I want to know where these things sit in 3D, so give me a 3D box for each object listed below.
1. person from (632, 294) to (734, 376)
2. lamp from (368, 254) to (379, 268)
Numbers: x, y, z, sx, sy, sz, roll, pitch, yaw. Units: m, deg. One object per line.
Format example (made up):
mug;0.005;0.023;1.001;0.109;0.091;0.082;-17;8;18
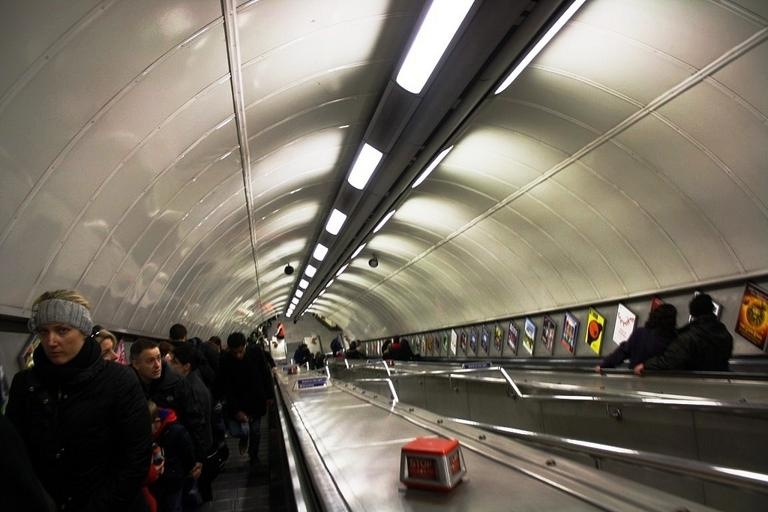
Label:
person;4.337;1.098;5.561;1.038;1.047;0.343;-4;-11;7
lamp;-0.491;0.146;18.475;0.532;0.576;0.588;-1;-23;-1
